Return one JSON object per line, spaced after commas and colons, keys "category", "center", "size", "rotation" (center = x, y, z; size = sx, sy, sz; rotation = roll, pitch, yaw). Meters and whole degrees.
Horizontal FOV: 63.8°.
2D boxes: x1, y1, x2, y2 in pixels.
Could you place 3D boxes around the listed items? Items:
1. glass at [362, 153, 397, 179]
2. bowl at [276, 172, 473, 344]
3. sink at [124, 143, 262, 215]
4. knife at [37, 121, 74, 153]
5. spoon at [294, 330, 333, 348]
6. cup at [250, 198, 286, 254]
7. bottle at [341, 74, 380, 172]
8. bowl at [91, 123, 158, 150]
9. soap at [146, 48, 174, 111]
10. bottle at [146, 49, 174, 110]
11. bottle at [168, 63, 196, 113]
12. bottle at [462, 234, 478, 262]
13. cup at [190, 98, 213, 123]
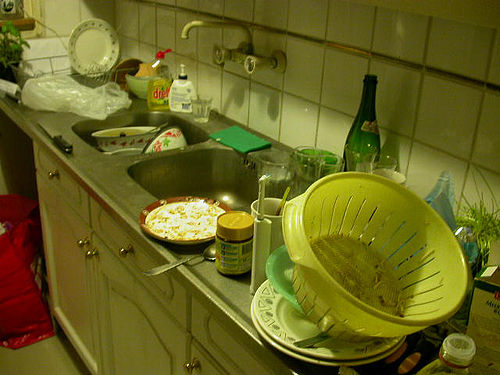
{"category": "glass", "center": [0.366, -0.067, 1.174], "size": [0.054, 0.064, 0.057], "rotation": [21, 10, 38]}
{"category": "bowl", "center": [0.229, 0.134, 0.767], "size": [0.352, 0.168, 0.349], "rotation": [11, 34, -8]}
{"category": "sink", "center": [-0.190, -0.053, 1.465], "size": [0.317, 0.207, 0.316], "rotation": [-20, 38, -35]}
{"category": "knife", "center": [-0.762, -0.194, 1.567], "size": [0.046, 0.048, 0.199], "rotation": [-14, 43, -44]}
{"category": "spoon", "center": [0.125, 0.299, 0.787], "size": [0.062, 0.018, 0.019], "rotation": [-22, -13, 8]}
{"category": "cup", "center": [0.058, 0.071, 0.939], "size": [0.074, 0.119, 0.125], "rotation": [7, 39, 6]}
{"category": "bottle", "center": [0.346, -0.165, 1.235], "size": [0.102, 0.371, 0.107], "rotation": [0, 34, 0]}
{"category": "bowl", "center": [-0.561, -0.231, 1.773], "size": [0.202, 0.066, 0.147], "rotation": [-8, 21, -14]}
{"category": "soap", "center": [-0.419, -0.475, 1.921], "size": [0.123, 0.345, 0.123], "rotation": [-13, 30, -30]}
{"category": "bottle", "center": [-0.431, -0.502, 1.884], "size": [0.104, 0.294, 0.127], "rotation": [-2, 30, -22]}
{"category": "bottle", "center": [-0.308, -0.449, 1.819], "size": [0.123, 0.220, 0.053], "rotation": [5, 20, -1]}
{"category": "bottle", "center": [0.462, 0.127, 0.843], "size": [0.038, 0.016, 0.046], "rotation": [13, 63, 15]}
{"category": "cup", "center": [-0.194, -0.346, 1.781], "size": [0.085, 0.111, 0.143], "rotation": [19, 20, 28]}
